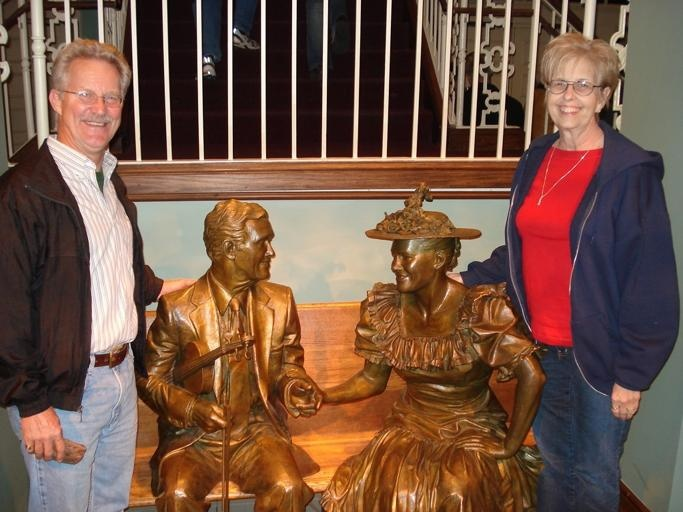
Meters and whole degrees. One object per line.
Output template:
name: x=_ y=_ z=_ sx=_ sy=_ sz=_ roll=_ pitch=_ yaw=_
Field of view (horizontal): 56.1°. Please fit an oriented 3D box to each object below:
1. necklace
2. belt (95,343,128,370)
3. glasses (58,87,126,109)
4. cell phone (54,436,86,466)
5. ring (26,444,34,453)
necklace: x=0.918 y=-0.335 z=2.694 sx=0.161 sy=0.232 sz=0.030 roll=23 pitch=6 yaw=-3
belt: x=-0.931 y=0.397 z=2.546 sx=0.085 sy=0.030 sz=0.082 roll=-11 pitch=23 yaw=-33
glasses: x=-0.980 y=-0.618 z=2.492 sx=0.230 sy=0.064 sz=0.081 roll=-5 pitch=13 yaw=-28
cell phone: x=-1.036 y=0.745 z=2.439 sx=0.076 sy=0.118 sz=0.093 roll=13 pitch=26 yaw=27
ring: x=-1.147 y=0.707 z=2.335 sx=0.026 sy=0.031 sz=0.028 roll=-1 pitch=-2 yaw=0
